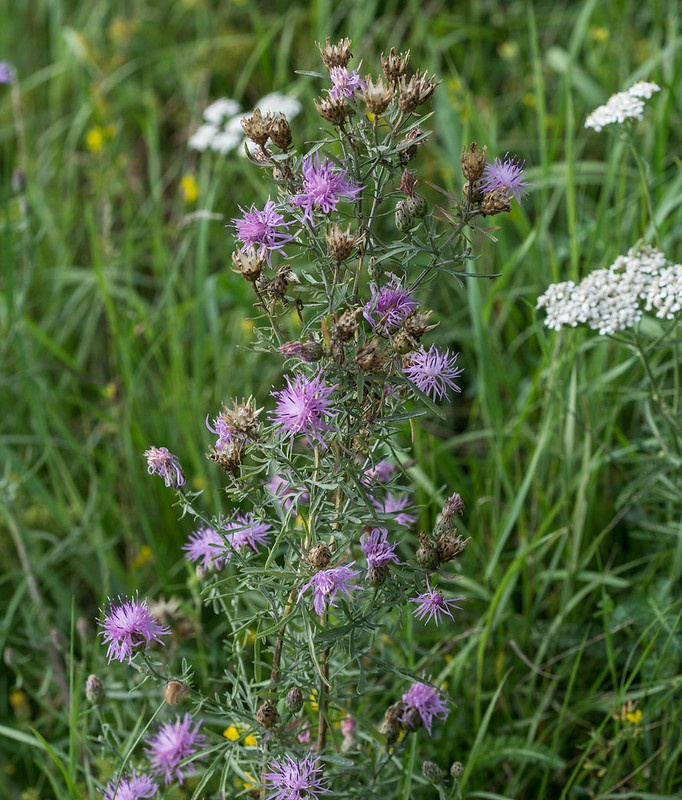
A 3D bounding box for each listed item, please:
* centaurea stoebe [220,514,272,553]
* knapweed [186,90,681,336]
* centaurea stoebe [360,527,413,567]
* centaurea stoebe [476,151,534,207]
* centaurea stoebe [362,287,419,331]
[{"bbox_3d":[-0.125,0.166,1.174,0.047,0.041,0.053,-3,11,-4],"label":"centaurea stoebe"},{"bbox_3d":[0.169,-0.302,1.506,0.319,0.557,0.277,6,17,24],"label":"knapweed"},{"bbox_3d":[0.057,0.173,1.094,0.044,0.047,0.050,0,37,-7],"label":"centaurea stoebe"},{"bbox_3d":[0.190,-0.242,1.081,0.059,0.042,0.065,33,48,-10],"label":"centaurea stoebe"},{"bbox_3d":[0.056,-0.103,1.061,0.050,0.052,0.055,-20,62,-9],"label":"centaurea stoebe"}]
